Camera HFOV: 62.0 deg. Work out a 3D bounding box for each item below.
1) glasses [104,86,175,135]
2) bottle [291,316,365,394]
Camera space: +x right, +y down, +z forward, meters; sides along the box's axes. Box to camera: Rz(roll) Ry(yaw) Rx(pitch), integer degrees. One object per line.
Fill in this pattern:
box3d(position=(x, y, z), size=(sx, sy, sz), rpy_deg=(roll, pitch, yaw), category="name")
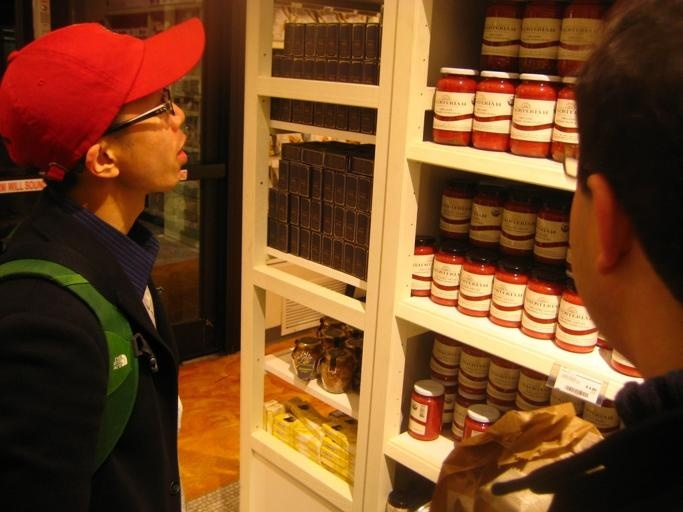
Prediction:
box3d(position=(-0.476, -0.327, 1.362), size=(0.129, 0.037, 0.129), rpy_deg=(-27, 27, -12), category="glasses")
box3d(position=(-0.059, 0.409, 2.301), size=(0.222, 0.090, 0.238), rpy_deg=(-1, 19, 0), category="bottle")
